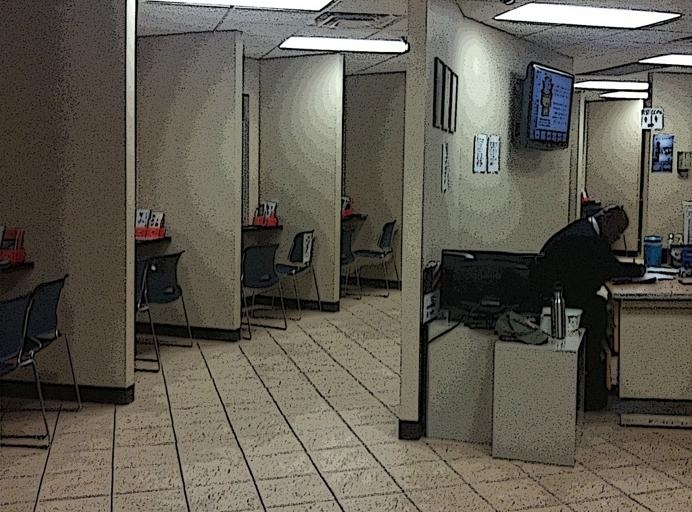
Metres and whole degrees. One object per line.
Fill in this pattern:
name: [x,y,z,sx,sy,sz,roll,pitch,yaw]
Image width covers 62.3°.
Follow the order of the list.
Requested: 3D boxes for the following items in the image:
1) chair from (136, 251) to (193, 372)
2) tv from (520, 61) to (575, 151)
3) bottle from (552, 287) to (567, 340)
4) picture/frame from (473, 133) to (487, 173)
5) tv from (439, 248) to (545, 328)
chair: [-1.936,0.435,6.178,0.547,1.006,0.557,-8,13,-10]
tv: [2.008,-1.447,5.699,0.864,0.789,0.127,-7,9,-43]
bottle: [1.527,0.402,4.081,0.084,0.347,0.091,-2,2,0]
picture/frame: [1.197,-0.913,5.118,0.055,0.335,0.277,5,10,33]
tv: [1.066,0.249,4.206,0.519,0.460,0.077,2,14,12]
